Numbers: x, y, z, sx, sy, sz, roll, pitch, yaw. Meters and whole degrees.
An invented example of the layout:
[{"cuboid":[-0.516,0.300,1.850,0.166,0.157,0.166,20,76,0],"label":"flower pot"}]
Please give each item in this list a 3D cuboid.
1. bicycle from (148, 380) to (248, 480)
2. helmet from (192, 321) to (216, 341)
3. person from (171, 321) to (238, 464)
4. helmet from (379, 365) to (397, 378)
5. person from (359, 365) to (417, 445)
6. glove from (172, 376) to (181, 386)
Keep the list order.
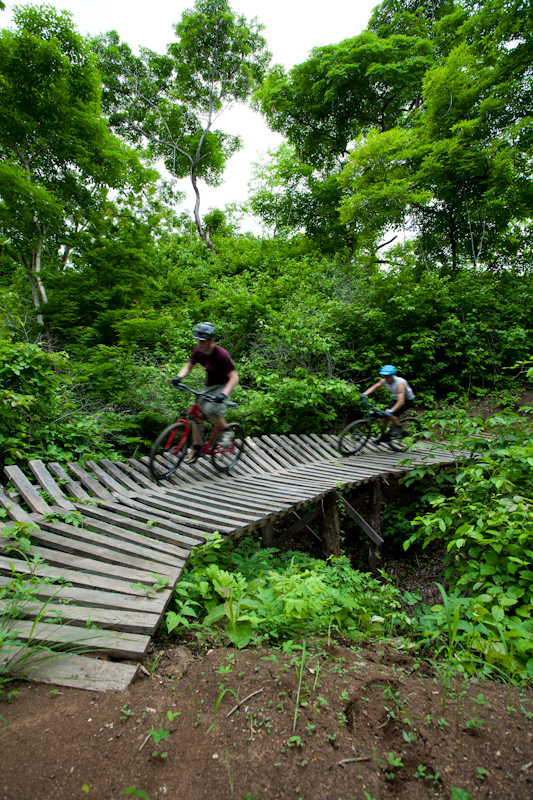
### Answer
[{"cuboid":[-0.799,0.529,7.117,0.685,0.957,1.551,25,9,26],"label":"bicycle"},{"cuboid":[-0.688,-0.776,6.731,0.199,0.194,0.581,6,9,-10],"label":"helmet"},{"cuboid":[-0.682,-0.041,6.819,0.630,1.659,0.554,7,8,-5],"label":"person"},{"cuboid":[1.894,-0.401,9.251,0.219,0.150,0.306,9,19,30],"label":"helmet"},{"cuboid":[1.955,0.043,9.330,0.751,1.185,0.613,-7,15,-10],"label":"person"},{"cuboid":[-0.944,-0.203,6.297,0.079,0.086,0.084,-7,-8,-16],"label":"glove"}]
